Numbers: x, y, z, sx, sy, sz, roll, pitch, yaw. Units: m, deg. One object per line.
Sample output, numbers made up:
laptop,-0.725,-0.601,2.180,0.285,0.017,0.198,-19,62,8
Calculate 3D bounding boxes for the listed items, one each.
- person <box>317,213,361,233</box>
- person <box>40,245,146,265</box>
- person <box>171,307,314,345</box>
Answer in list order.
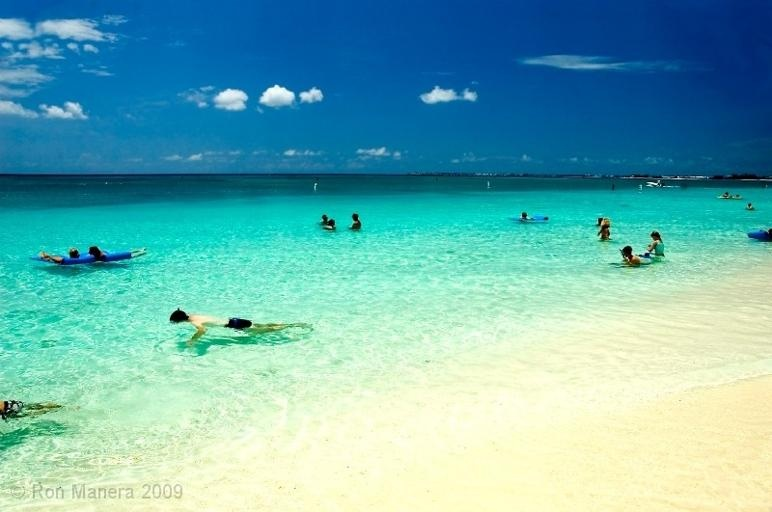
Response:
person,-2.871,-1.971,35.918,3.215,0.957,1.195,3,5,3
person,-11.956,-0.017,24.416,3.258,0.698,1.048,-8,8,-39
person,-4.358,1.966,17.147,3.370,0.581,1.268,2,-1,-5
